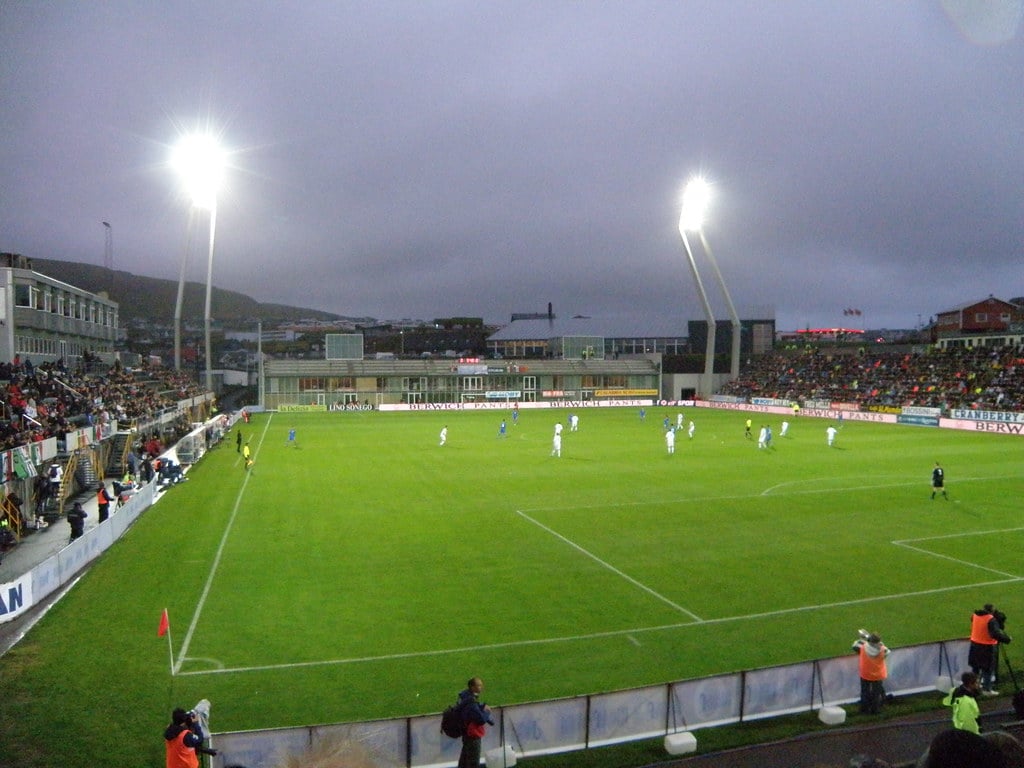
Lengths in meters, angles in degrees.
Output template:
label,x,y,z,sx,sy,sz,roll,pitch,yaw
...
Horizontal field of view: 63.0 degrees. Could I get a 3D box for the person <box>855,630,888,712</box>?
label,x,y,z,sx,sy,sz,roll,pitch,yaw
person,7.912,6.276,18.311,0.687,1.757,0.652,5,6,40

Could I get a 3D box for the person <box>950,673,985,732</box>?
label,x,y,z,sx,sy,sz,roll,pitch,yaw
person,8.316,5.852,15.157,0.479,1.369,1.113,2,6,28

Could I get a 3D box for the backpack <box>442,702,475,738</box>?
label,x,y,z,sx,sy,sz,roll,pitch,yaw
backpack,-0.990,6.152,15.453,0.584,0.678,0.460,2,2,9

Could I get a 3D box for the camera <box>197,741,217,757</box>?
label,x,y,z,sx,sy,sz,roll,pitch,yaw
camera,-5.534,6.553,14.988,0.174,0.175,0.623,-11,-5,-22
